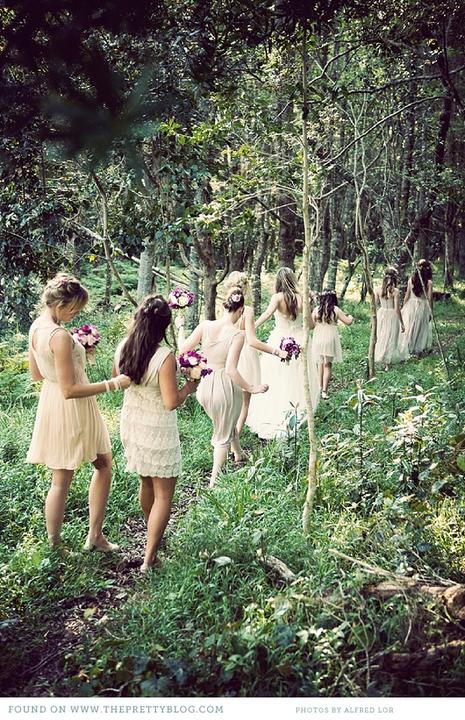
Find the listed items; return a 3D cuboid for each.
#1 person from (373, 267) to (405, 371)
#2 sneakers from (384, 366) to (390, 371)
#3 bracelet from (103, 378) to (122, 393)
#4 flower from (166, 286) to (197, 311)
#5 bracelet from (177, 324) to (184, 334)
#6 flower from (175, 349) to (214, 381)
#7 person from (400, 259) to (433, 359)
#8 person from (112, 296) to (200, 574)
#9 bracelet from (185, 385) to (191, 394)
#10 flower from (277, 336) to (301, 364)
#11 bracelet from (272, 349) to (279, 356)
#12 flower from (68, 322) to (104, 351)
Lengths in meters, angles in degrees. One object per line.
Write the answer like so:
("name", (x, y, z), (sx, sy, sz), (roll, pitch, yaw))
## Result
("person", (2.611, -0.689, 9.505), (0.504, 1.618, 0.932), (5, 7, 14))
("sneakers", (2.482, 0.124, 9.182), (0.080, 0.081, 0.131), (2, 25, 21))
("bracelet", (-0.683, 0.145, 3.317), (0.082, 0.061, 0.108), (1, -1, -15))
("flower", (-0.484, -0.577, 5.457), (0.276, 0.173, 0.291), (-9, 4, -16))
("bracelet", (-0.495, -0.301, 5.329), (0.087, 0.093, 0.086), (-1, -5, 7))
("flower", (-0.223, 0.023, 3.507), (0.175, 0.191, 0.188), (3, 2, 6))
("person", (3.269, -0.903, 10.127), (0.589, 1.668, 1.510), (5, 7, 18))
("person", (-0.484, 0.435, 3.463), (0.417, 1.642, 0.495), (-3, 9, -42))
("bracelet", (-0.260, 0.172, 3.400), (0.035, 0.049, 0.027), (-2, -2, -29))
("flower", (0.583, -0.110, 5.570), (0.225, 0.282, 0.236), (-7, 14, -26))
("bracelet", (0.428, -0.076, 5.655), (0.041, 0.059, 0.020), (-6, -8, -1))
("flower", (-0.978, -0.181, 3.766), (0.189, 0.194, 0.195), (12, -14, 15))
